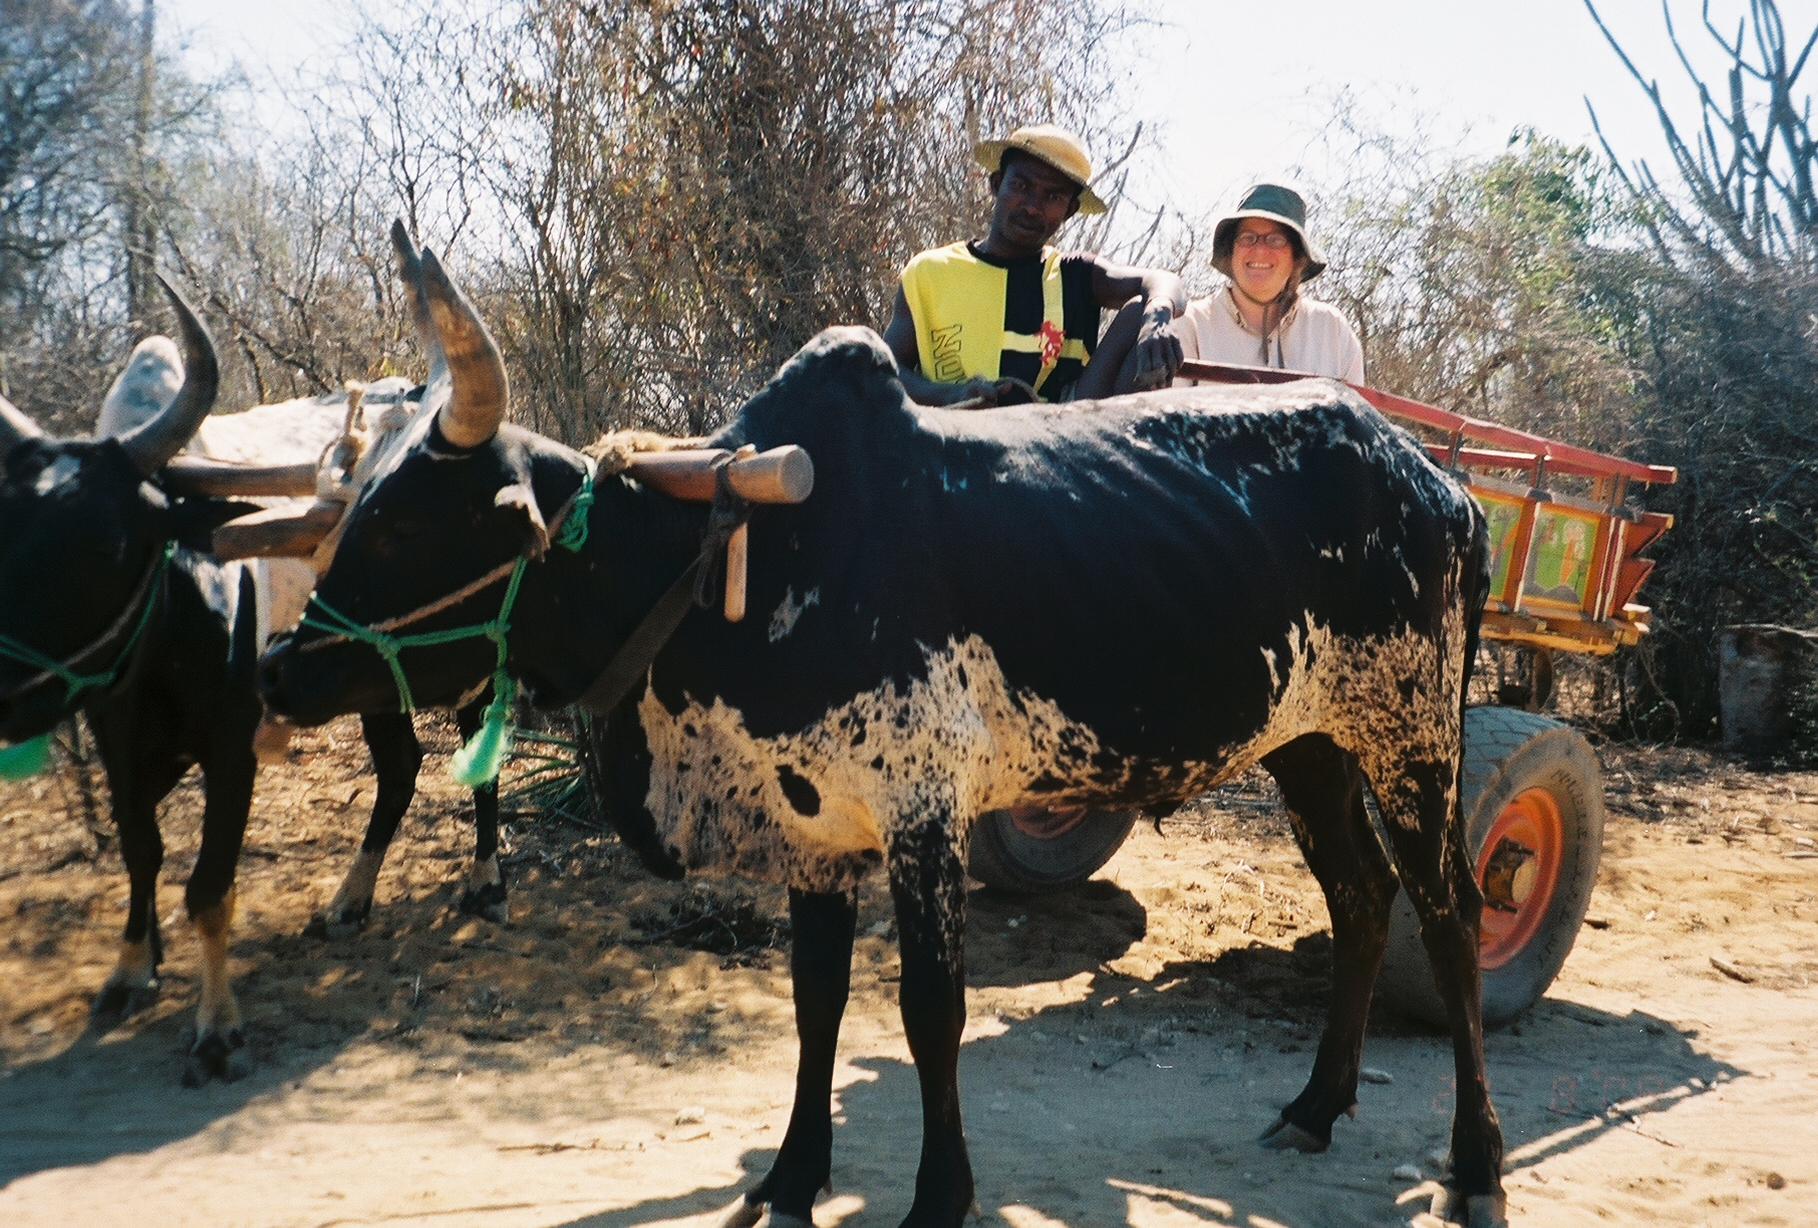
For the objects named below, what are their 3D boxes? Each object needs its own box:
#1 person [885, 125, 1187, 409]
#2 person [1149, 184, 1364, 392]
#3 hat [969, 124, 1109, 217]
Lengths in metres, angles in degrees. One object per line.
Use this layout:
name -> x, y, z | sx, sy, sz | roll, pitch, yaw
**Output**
person -> 0.587, -1.587, 9.193 | 1.378, 1.614, 1.120 | 0, -11, 10
person -> 2.057, -1.674, 10.671 | 1.147, 1.548, 0.783 | 8, -10, 4
hat -> 0.647, -2.255, 9.200 | 0.621, 0.415, 0.652 | -2, 0, 4
